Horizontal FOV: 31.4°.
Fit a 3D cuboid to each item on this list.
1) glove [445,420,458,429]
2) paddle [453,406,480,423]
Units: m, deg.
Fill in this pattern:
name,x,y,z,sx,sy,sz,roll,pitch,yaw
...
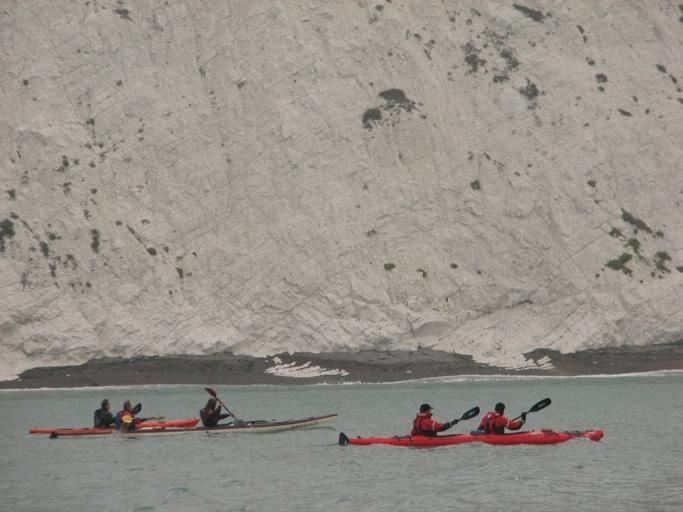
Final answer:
name,x,y,z,sx,sy,sz,roll,pitch,yaw
glove,4.873,7.569,54.710,0.880,0.252,0.187,-19,75,-2
paddle,5.687,7.267,54.935,1.742,0.249,0.417,-28,59,30
